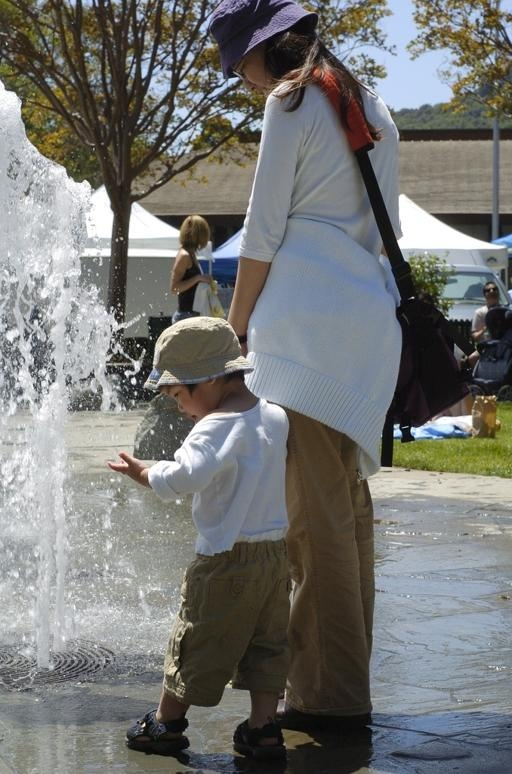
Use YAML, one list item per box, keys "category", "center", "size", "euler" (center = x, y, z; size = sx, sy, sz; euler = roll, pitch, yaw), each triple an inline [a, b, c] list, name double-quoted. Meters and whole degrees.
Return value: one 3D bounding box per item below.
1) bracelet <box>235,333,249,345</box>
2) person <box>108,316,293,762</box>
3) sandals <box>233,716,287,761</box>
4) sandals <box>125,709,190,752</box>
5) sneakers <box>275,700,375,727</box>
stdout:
- category: "bracelet"
  center: [-0.031, -0.106, 2.136]
  size: [0.017, 0.021, 0.023]
  euler: [-19, -22, 9]
- category: "person"
  center: [-0.113, 0.295, 1.972]
  size: [0.371, 0.890, 0.315]
  euler: [0, 1, 2]
- category: "sandals"
  center: [0.012, 0.701, 1.878]
  size: [0.053, 0.047, 0.115]
  euler: [2, -3, -16]
- category: "sandals"
  center: [-0.196, 0.710, 1.946]
  size: [0.118, 0.074, 0.060]
  euler: [5, -14, 14]
- category: "sneakers"
  center: [0.148, 0.722, 2.058]
  size: [0.198, 0.076, 0.067]
  euler: [2, -24, 9]
